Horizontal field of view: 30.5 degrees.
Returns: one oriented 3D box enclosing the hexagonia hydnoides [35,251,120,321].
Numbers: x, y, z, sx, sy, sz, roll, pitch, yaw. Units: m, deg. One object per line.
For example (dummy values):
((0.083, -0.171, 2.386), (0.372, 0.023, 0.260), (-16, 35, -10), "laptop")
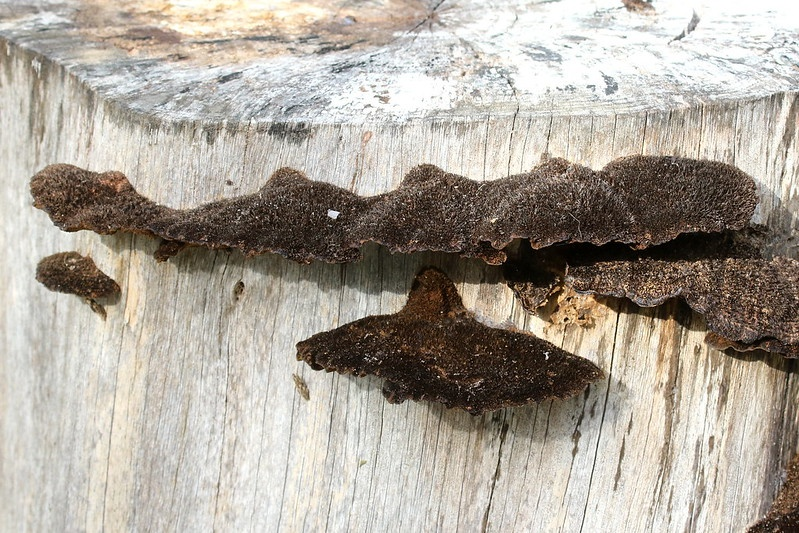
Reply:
((-2.084, 0.070, 9.674), (0.571, 0.353, 0.187), (16, 11, 21), "hexagonia hydnoides")
